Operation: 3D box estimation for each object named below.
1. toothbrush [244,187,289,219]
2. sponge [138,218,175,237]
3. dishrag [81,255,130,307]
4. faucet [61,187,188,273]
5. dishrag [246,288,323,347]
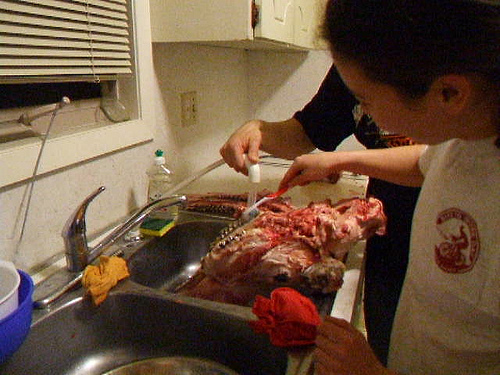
[{"bbox_3d":[0.031,0.067,1.209,0.198,0.045,0.064,-35,-4,27],"label":"toothbrush"},{"bbox_3d":[-0.328,0.133,1.262,0.075,0.020,0.082,4,14,15],"label":"sponge"},{"bbox_3d":[-0.405,0.237,1.007,0.109,0.063,0.157,32,29,2],"label":"dishrag"},{"bbox_3d":[-0.360,0.100,1.071,0.347,0.220,0.068,-12,19,-19],"label":"faucet"},{"bbox_3d":[0.089,0.319,0.910,0.168,0.079,0.137,10,18,25],"label":"dishrag"}]
